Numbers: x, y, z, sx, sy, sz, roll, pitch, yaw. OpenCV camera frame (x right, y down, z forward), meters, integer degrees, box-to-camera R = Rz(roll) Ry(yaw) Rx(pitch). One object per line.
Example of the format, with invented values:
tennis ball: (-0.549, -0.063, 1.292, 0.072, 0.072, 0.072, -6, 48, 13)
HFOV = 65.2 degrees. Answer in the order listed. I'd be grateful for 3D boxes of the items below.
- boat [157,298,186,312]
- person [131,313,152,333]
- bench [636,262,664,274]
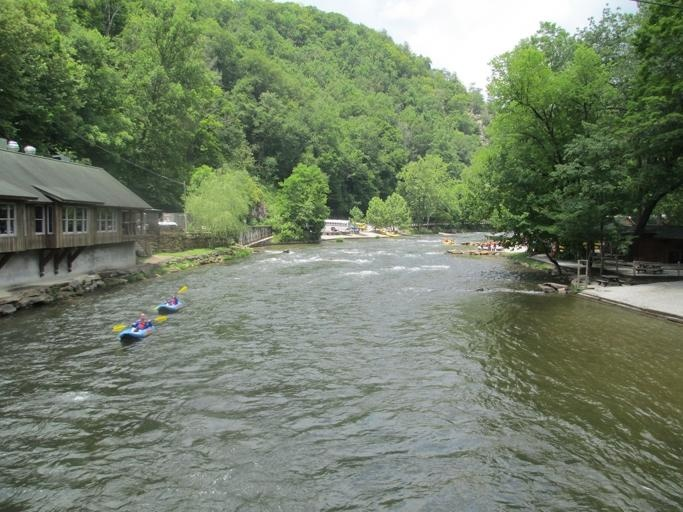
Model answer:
boat: (-11.687, 3.362, 36.953, 1.254, 0.827, 2.360, 1, 7, 1)
person: (-11.756, 3.955, 31.696, 0.993, 0.481, 1.359, -2, 13, -11)
bench: (25.207, 0.990, 43.757, 1.789, 0.554, 1.209, 0, 5, 15)
